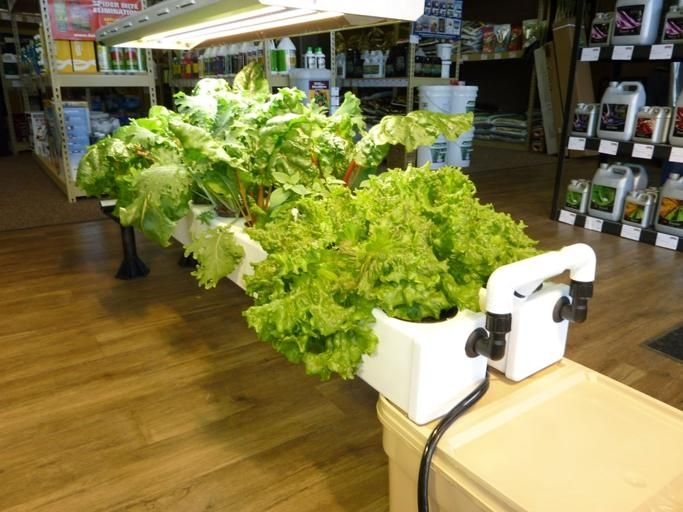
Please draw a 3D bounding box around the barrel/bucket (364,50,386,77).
[{"bbox_3d":[0.453,-2.533,5.457,0.313,0.366,0.252,23,40,34],"label":"barrel/bucket"}]

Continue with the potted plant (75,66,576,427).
[{"bbox_3d":[-0.125,-0.164,1.264,0.730,0.705,1.538,-21,30,-38],"label":"potted plant"}]
